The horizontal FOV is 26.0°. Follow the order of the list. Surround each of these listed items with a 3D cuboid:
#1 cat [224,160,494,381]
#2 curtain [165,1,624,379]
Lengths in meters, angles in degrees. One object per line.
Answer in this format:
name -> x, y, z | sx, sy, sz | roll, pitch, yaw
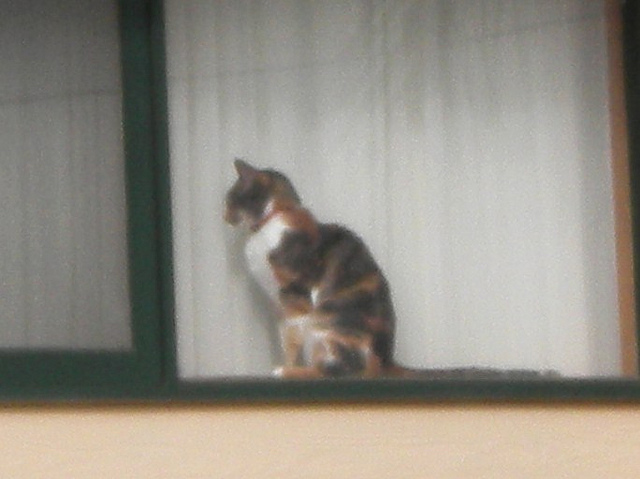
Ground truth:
cat -> 0.099, 0.079, 3.782 | 0.751, 0.629, 0.271 | -1, -6, 12
curtain -> 0.224, -0.093, 3.706 | 0.812, 0.976, 0.032 | -2, -2, 4
